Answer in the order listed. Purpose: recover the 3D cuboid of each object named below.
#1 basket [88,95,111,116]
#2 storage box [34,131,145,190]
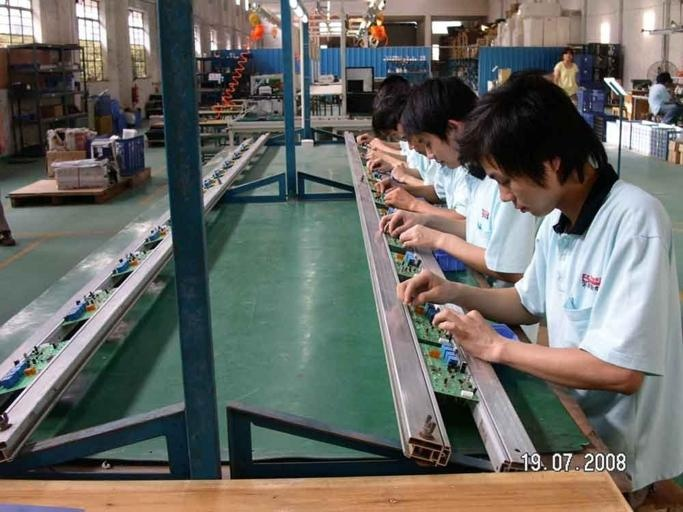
[{"bbox_3d":[-6.452,-3.995,13.161,0.350,0.646,0.645,0,15,9],"label":"basket"},{"bbox_3d":[-3.469,-1.367,7.056,0.766,0.560,1.334,-1,17,-4],"label":"storage box"}]
